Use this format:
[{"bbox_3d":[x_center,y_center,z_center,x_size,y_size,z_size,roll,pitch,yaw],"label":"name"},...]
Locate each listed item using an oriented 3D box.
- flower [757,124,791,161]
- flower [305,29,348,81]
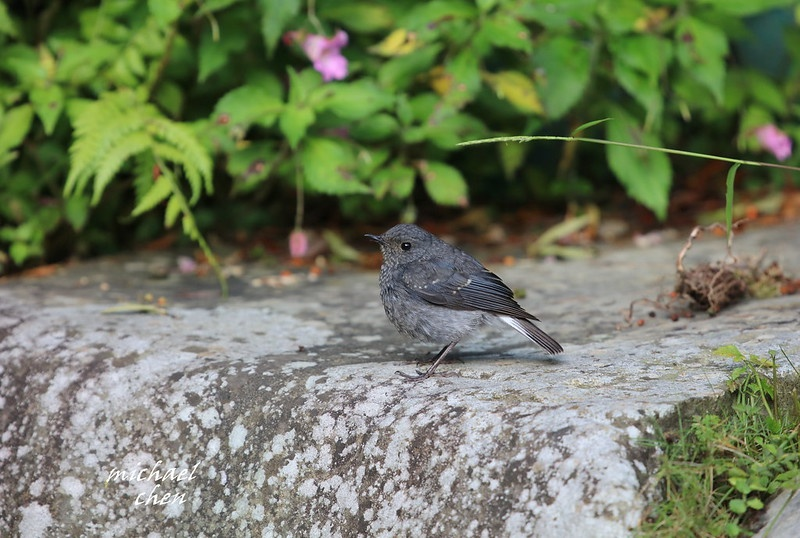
[{"bbox_3d":[3.369,-1.168,7.284,0.236,0.114,0.361,-26,54,-38],"label":"flower"},{"bbox_3d":[-0.508,-1.476,5.537,0.316,0.334,0.233,-12,29,11],"label":"flower"}]
